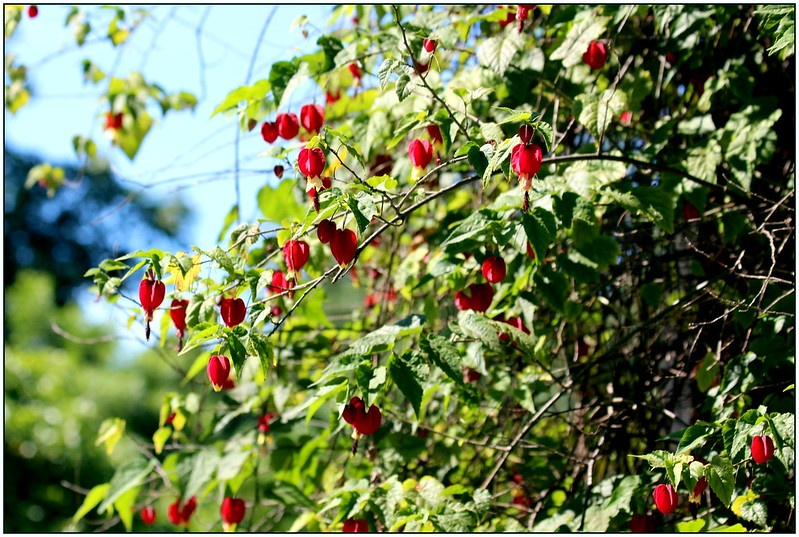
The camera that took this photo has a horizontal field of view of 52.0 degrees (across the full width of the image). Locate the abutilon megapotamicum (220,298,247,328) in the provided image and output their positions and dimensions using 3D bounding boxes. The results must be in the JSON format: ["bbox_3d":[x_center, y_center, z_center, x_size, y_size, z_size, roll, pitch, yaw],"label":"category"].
[{"bbox_3d":[-0.887,0.228,4.430,0.114,0.159,0.146,1,-3,5],"label":"abutilon megapotamicum"}]

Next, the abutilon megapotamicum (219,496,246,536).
[{"bbox_3d":[-1.042,1.516,5.026,0.152,0.206,0.241,19,-34,-8],"label":"abutilon megapotamicum"}]

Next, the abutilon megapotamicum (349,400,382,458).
[{"bbox_3d":[-0.188,0.864,4.364,0.133,0.293,0.233,-6,-38,28],"label":"abutilon megapotamicum"}]

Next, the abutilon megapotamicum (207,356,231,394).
[{"bbox_3d":[-0.956,0.545,4.343,0.103,0.181,0.123,-2,-6,22],"label":"abutilon megapotamicum"}]

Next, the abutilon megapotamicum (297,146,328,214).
[{"bbox_3d":[-0.476,-0.473,4.288,0.187,0.293,0.146,22,-33,-12],"label":"abutilon megapotamicum"}]

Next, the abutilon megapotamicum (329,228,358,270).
[{"bbox_3d":[-0.305,-0.113,4.364,0.157,0.175,0.109,23,-34,-13],"label":"abutilon megapotamicum"}]

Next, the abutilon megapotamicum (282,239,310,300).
[{"bbox_3d":[-0.593,-0.030,4.455,0.138,0.157,0.267,20,-35,-9],"label":"abutilon megapotamicum"}]
